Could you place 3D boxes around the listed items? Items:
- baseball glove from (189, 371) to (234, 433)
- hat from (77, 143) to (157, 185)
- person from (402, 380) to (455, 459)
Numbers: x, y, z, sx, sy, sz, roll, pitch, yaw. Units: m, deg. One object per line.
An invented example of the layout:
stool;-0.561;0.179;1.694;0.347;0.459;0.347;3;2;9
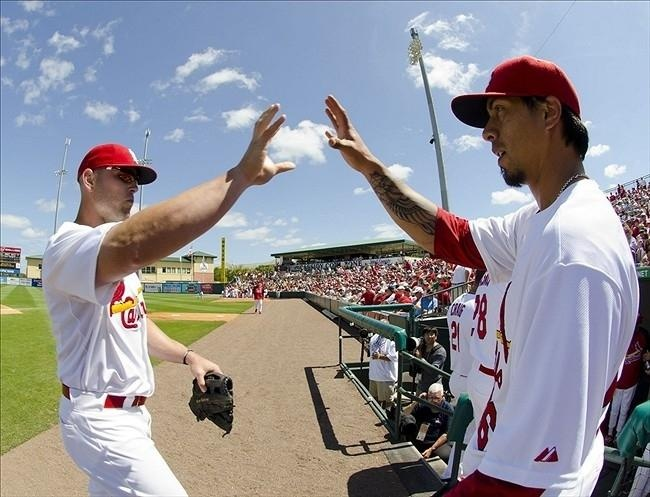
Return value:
baseball glove;-0.750;0.984;2.802;0.221;0.138;0.325;10;18;-1
hat;-1.276;-0.531;2.729;0.441;0.240;0.323;-5;-9;10
person;1.262;2.132;5.460;0.634;0.963;0.681;8;2;7
